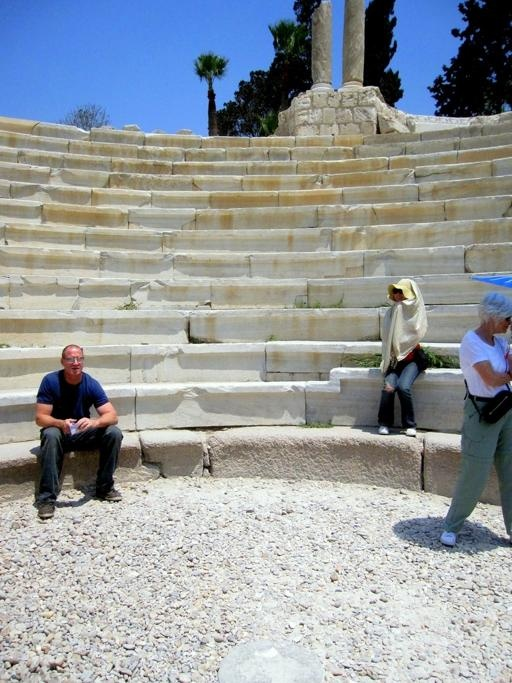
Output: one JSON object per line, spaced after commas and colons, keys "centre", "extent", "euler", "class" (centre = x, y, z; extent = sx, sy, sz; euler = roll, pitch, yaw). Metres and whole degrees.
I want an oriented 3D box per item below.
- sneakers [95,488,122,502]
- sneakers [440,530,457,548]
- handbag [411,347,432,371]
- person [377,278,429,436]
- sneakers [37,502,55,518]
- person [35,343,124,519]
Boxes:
{"centre": [-1.036, 1.071, 4.227], "extent": [0.160, 0.066, 0.085], "euler": [0, 1, 0], "class": "sneakers"}
{"centre": [1.170, 1.179, 3.610], "extent": [0.048, 0.055, 0.135], "euler": [2, 8, 11], "class": "sneakers"}
{"centre": [1.334, 0.139, 4.922], "extent": [0.170, 0.223, 0.082], "euler": [13, -34, -27], "class": "handbag"}
{"centre": [1.190, 0.109, 4.836], "extent": [0.390, 1.173, 0.813], "euler": [3, 10, 16], "class": "person"}
{"centre": [-1.371, 1.098, 3.913], "extent": [0.100, 0.079, 0.118], "euler": [-3, 10, -18], "class": "sneakers"}
{"centre": [-1.267, 0.586, 4.132], "extent": [0.629, 1.081, 0.516], "euler": [-6, 12, -34], "class": "person"}
